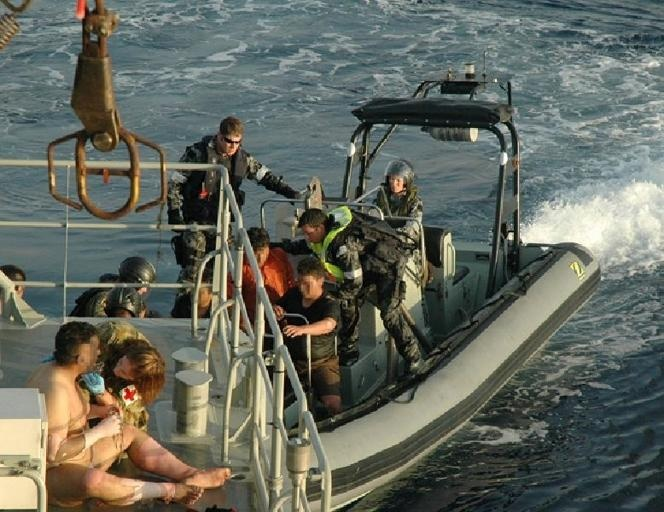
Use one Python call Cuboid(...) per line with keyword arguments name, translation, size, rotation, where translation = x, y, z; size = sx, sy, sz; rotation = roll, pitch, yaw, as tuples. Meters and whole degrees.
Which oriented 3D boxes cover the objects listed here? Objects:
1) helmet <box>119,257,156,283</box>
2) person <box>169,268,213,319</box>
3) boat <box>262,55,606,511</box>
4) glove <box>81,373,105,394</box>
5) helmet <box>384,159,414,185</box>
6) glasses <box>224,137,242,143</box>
Cuboid(name="helmet", translation=(-2.635, 0.170, 21.128), size=(0.479, 0.298, 0.399), rotation=(2, -5, -12))
Cuboid(name="person", translation=(-1.912, 0.494, 21.093), size=(0.606, 0.689, 0.363), rotation=(7, -3, 35))
Cuboid(name="boat", translation=(0.357, 0.055, 21.794), size=(4.365, 3.751, 7.377), rotation=(12, 28, 31))
Cuboid(name="glove", translation=(-2.795, 1.486, 18.258), size=(0.286, 0.219, 0.079), rotation=(46, 13, 2))
Cuboid(name="helmet", translation=(0.979, -1.250, 22.348), size=(0.350, 0.300, 0.418), rotation=(6, 14, 16))
Cuboid(name="glasses", translation=(-1.355, -1.615, 21.244), size=(0.151, 0.081, 0.304), rotation=(7, 8, 40))
